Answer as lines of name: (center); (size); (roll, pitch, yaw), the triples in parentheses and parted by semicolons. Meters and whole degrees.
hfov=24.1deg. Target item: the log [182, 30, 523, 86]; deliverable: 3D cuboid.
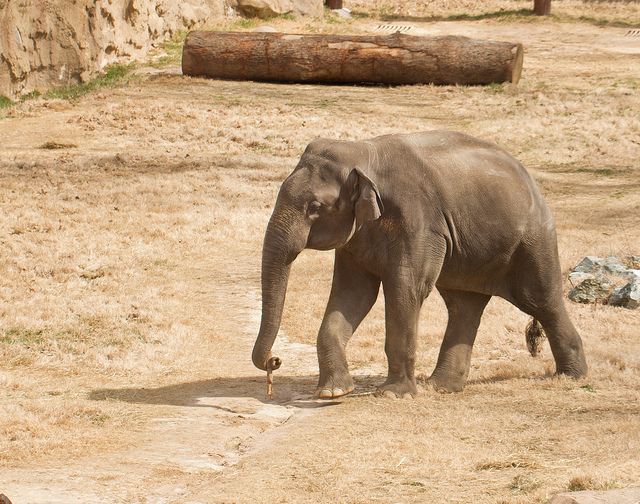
log: (0.659, -4.467, 35.071); (6.946, 1.117, 1.344); (1, -3, 7)

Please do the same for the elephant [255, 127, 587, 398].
elephant: (1.643, 0.178, 22.681); (5.622, 3.868, 2.166); (-2, 4, -26)
